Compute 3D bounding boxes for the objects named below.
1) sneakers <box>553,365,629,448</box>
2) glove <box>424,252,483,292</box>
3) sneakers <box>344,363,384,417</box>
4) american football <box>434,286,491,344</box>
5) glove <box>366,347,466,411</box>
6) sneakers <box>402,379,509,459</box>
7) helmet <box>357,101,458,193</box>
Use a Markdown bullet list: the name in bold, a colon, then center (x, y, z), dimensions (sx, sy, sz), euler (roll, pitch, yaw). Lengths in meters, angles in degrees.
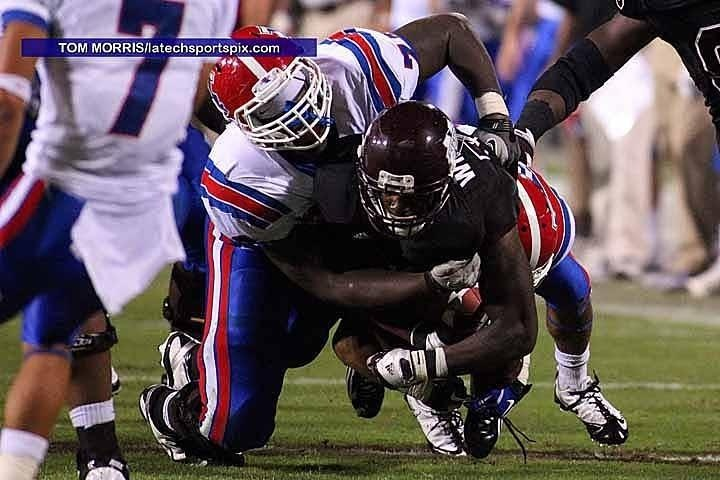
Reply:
- **sneakers**: center (1.091, 0.798, 4.202), dimensions (0.174, 0.188, 0.410), euler (-27, 38, -15)
- **glove**: center (0.376, 0.128, 3.478), dimensions (0.129, 0.079, 0.170), euler (-11, -1, -5)
- **sneakers**: center (0.029, 0.697, 4.088), dimensions (0.138, 0.257, 0.098), euler (-11, 33, 17)
- **american football**: center (0.417, 0.380, 3.915), dimensions (0.221, 0.142, 0.306), euler (-8, 26, 23)
- **glove**: center (0.248, 0.556, 3.669), dimensions (0.281, 0.136, 0.276), euler (22, -11, -25)
- **sneakers**: center (0.373, 0.825, 3.993), dimensions (0.550, 0.187, 0.233), euler (24, -23, -16)
- **helmet**: center (0.188, -0.317, 3.574), dimensions (0.291, 0.303, 0.372), euler (16, 60, 8)
